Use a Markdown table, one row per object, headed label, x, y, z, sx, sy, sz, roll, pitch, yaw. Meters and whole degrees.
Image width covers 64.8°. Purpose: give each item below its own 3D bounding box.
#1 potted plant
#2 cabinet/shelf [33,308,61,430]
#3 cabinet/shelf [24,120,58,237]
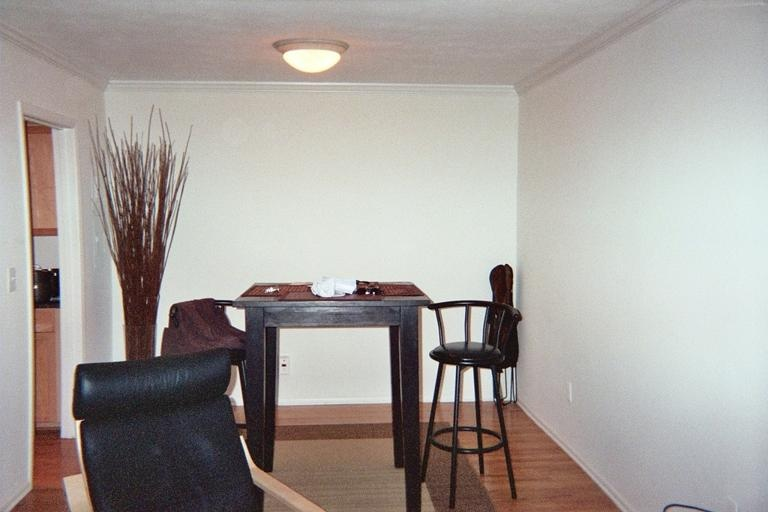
| label | x | y | z | sx | sy | sz | roll | pitch | yaw |
| --- | --- | --- | --- | --- | --- | --- | --- | --- | --- |
| potted plant | -2.079 | -0.271 | 5.076 | 0.824 | 1.648 | 1.012 | 1 | 0 | -15 |
| cabinet/shelf | -2.815 | 0.945 | 5.075 | 0.208 | 0.753 | 0.157 | 1 | 0 | -12 |
| cabinet/shelf | -2.917 | -0.653 | 5.175 | 0.215 | 0.694 | 0.400 | 1 | 0 | -24 |
